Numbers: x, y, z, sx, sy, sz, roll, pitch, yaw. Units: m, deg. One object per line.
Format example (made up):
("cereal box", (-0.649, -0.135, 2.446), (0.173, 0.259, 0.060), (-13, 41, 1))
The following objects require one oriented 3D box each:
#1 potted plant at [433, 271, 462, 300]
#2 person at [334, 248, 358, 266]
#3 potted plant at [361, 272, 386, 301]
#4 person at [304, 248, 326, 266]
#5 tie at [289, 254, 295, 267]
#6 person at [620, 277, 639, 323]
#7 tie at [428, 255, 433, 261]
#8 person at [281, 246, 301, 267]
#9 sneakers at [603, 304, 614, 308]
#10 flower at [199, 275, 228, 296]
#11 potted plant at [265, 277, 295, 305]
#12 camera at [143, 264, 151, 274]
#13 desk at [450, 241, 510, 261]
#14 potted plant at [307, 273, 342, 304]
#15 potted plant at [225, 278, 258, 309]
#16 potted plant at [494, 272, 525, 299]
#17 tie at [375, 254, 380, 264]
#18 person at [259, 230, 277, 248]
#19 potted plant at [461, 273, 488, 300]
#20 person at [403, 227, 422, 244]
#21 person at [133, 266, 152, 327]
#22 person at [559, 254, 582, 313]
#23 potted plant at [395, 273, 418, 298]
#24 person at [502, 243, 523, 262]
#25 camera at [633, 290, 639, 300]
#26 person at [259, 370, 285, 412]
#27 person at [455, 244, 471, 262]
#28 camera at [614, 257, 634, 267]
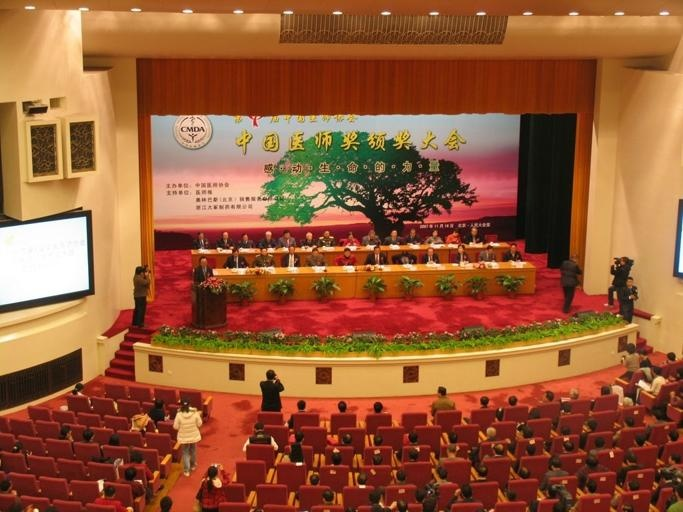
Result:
("potted plant", (2.808, 0.784, 14.680), (0.631, 0.634, 0.631), (-1, 9, -3))
("person", (0.109, 0.002, 15.773), (0.556, 0.490, 0.728), (0, 4, -1))
("potted plant", (0.837, 0.800, 14.623), (0.609, 0.616, 0.614), (0, 15, -1))
("person", (-0.755, 0.066, 15.556), (0.568, 0.882, 0.485), (-3, 13, -7))
("tie", (-1.417, 0.105, 15.621), (0.161, 0.321, 0.086), (-1, 4, -19))
("person", (7.079, 1.098, 13.579), (0.312, 1.089, 0.515), (3, 4, 38))
("tie", (2.540, 0.057, 15.768), (0.144, 0.141, 0.148), (-2, -6, 16))
("person", (-1.446, 0.028, 15.814), (0.525, 0.959, 0.517), (0, 3, -5))
("sneakers", (7.146, 1.334, 14.724), (0.283, 0.121, 0.096), (0, 20, 19))
("flower", (-2.955, 0.676, 12.440), (0.581, 0.377, 0.431), (1, 4, 3))
("potted plant", (-1.594, 0.893, 14.375), (0.627, 0.544, 0.629), (0, 7, -3))
("camera", (-4.940, 0.318, 13.821), (0.106, 0.220, 0.167), (-6, 13, 40))
("desk", (4.108, -0.131, 16.424), (1.575, 0.605, 1.439), (-1, 3, -1))
("potted plant", (-0.443, 0.847, 14.571), (0.715, 0.696, 0.326), (0, 3, -1))
("potted plant", (-2.596, 0.966, 14.151), (0.642, 0.539, 0.640), (-1, 12, -6))
("potted plant", (4.594, 0.780, 14.907), (0.602, 0.429, 0.608), (1, 4, 6))
("tie", (0.991, 0.083, 15.472), (0.165, 0.235, 0.070), (1, -4, -2))
("person", (-2.416, -0.559, 17.940), (0.527, 0.918, 0.502), (-2, 14, -11))
("potted plant", (3.600, 0.817, 14.855), (0.585, 0.558, 0.590), (-1, 8, -2))
("person", (2.358, -0.688, 18.556), (0.542, 0.927, 0.487), (-2, 15, 2))
("person", (-4.693, 0.951, 12.786), (0.354, 1.398, 0.727), (-1, 4, -21))
("person", (5.943, 0.712, 14.270), (0.432, 1.419, 1.096), (2, 4, 24))
("potted plant", (1.767, 0.830, 14.840), (0.552, 0.555, 0.549), (-1, 0, -8))
("person", (4.850, -0.113, 15.659), (0.469, 0.538, 1.242), (1, 4, 16))
("camera", (7.399, 0.979, 13.801), (0.096, 0.320, 0.236), (-2, 6, 11))
("person", (-1.230, 2.375, 9.648), (0.378, 0.840, 0.682), (0, 4, -7))
("person", (3.513, -0.081, 15.977), (0.360, 0.504, 1.178), (1, 4, 12))
("camera", (7.352, 0.132, 14.384), (0.370, 0.170, 0.374), (1, 15, -1))
